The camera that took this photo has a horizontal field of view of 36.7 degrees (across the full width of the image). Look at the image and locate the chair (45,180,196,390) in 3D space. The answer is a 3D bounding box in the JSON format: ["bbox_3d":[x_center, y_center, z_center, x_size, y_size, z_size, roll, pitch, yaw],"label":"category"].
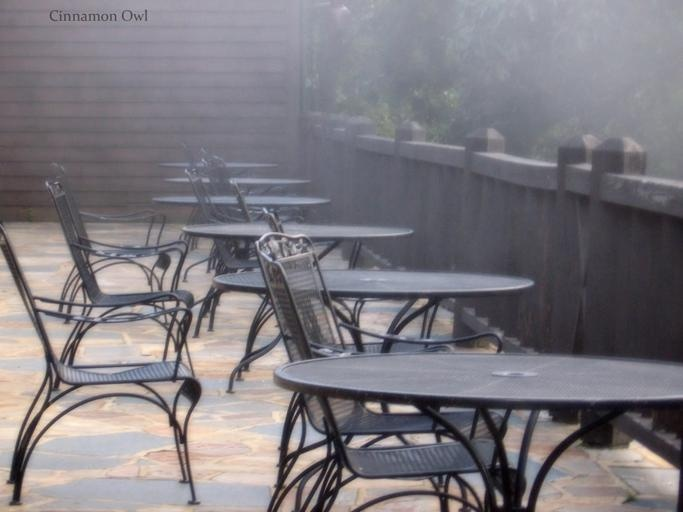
[{"bbox_3d":[-1.342,0.126,6.326,0.822,0.933,0.593,-1,-3,-8],"label":"chair"}]

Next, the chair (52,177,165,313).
[{"bbox_3d":[-1.851,-0.036,8.309,0.935,0.770,0.635,-7,8,-23],"label":"chair"}]

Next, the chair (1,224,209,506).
[{"bbox_3d":[-1.207,0.419,5.050,0.885,1.276,1.211,-4,14,-15],"label":"chair"}]
